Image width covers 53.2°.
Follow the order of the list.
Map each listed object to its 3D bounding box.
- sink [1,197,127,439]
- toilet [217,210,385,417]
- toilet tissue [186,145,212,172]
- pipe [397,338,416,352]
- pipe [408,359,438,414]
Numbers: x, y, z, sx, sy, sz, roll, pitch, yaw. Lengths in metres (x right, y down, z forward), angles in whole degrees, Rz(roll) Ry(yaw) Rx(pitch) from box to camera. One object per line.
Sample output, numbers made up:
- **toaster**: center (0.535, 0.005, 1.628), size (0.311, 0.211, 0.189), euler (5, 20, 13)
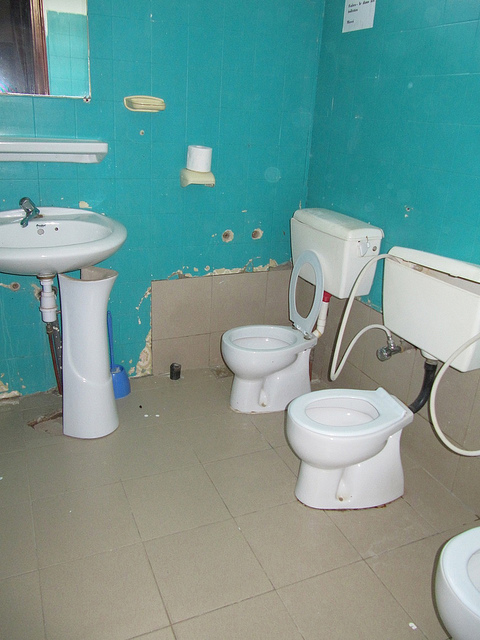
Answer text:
- **sink**: center (-0.702, 0.006, 2.013), size (0.464, 0.990, 0.595), euler (-7, 25, -23)
- **toilet**: center (0.230, -0.017, 2.276), size (0.618, 0.973, 0.530), euler (-5, 22, -25)
- **toilet tissue**: center (-0.183, -0.724, 2.149), size (0.103, 0.114, 0.105), euler (-1, 22, -23)
- **pipe**: center (0.644, 0.101, 1.866), size (0.048, 0.060, 0.017), euler (5, -16, -5)
- **pipe**: center (0.674, 0.257, 1.806), size (0.065, 0.224, 0.094), euler (-2, 26, -13)
